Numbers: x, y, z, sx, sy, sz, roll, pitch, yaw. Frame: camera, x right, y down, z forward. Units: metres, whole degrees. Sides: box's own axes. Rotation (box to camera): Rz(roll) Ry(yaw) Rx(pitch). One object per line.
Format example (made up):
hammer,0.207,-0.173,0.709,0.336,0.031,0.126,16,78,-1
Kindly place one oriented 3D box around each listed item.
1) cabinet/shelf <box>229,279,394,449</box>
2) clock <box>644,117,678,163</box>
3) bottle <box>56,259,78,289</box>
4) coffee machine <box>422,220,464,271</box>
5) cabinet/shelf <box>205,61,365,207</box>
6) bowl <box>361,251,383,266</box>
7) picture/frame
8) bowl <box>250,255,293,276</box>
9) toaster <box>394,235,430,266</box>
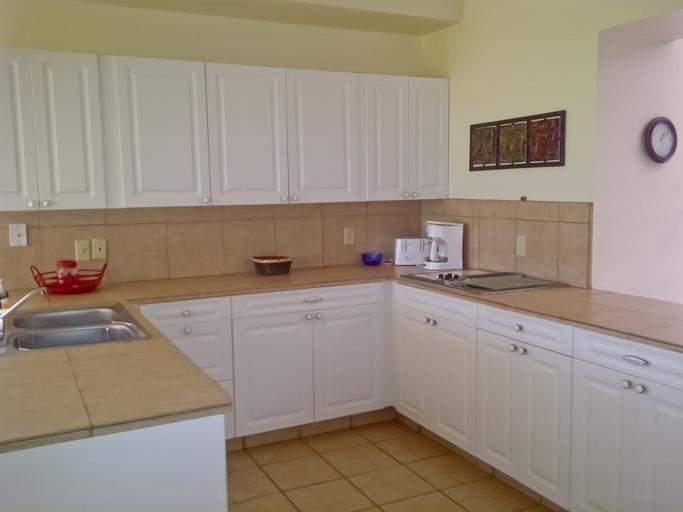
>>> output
cabinet/shelf,-0.294,0.664,3.644,1.219,0.921,0.451,-1,-1,-33
clock,1.916,-0.706,3.139,0.276,0.266,0.028,-6,3,-26
bottle,-1.650,0.109,3.129,0.104,0.144,0.148,-7,10,-28
coffee machine,0.750,-0.079,3.884,0.278,0.335,0.222,-3,5,-31
cabinet/shelf,-0.436,-0.816,3.722,1.164,0.936,0.440,-5,14,-22
bowl,0.228,0.025,4.059,0.120,0.063,0.118,-1,-1,0
picture/frame,1.147,-0.748,3.469,0.043,0.338,0.785,-7,10,-29
bowl,-0.501,0.069,3.750,0.272,0.121,0.279,-2,8,0
toaster,0.540,-0.036,3.986,0.252,0.180,0.219,-1,5,-11
